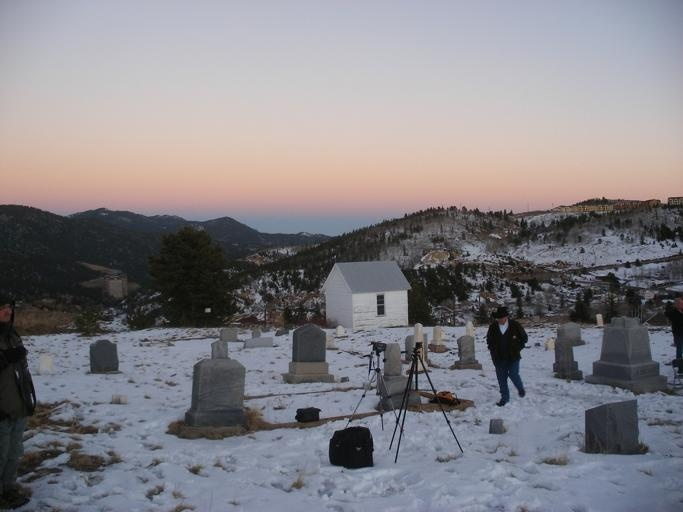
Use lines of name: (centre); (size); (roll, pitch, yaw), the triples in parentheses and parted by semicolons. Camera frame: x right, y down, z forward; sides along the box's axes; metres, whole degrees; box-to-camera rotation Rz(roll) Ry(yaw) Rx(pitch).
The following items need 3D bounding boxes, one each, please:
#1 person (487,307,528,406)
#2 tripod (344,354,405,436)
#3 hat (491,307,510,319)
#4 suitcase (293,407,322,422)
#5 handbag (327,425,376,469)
person: (4.425, 2.610, 17.019); (0.982, 2.637, 1.193); (0, 8, 15)
tripod: (0.857, 3.405, 17.462); (1.670, 2.240, 1.531); (2, 3, -17)
hat: (4.198, 1.509, 16.844); (0.417, 0.175, 0.469); (-1, -5, 8)
suitcase: (-0.874, 4.117, 16.532); (0.440, 0.253, 0.387); (-1, 0, -27)
handbag: (0.200, 4.291, 14.215); (0.873, 0.800, 0.845); (5, -19, -19)
